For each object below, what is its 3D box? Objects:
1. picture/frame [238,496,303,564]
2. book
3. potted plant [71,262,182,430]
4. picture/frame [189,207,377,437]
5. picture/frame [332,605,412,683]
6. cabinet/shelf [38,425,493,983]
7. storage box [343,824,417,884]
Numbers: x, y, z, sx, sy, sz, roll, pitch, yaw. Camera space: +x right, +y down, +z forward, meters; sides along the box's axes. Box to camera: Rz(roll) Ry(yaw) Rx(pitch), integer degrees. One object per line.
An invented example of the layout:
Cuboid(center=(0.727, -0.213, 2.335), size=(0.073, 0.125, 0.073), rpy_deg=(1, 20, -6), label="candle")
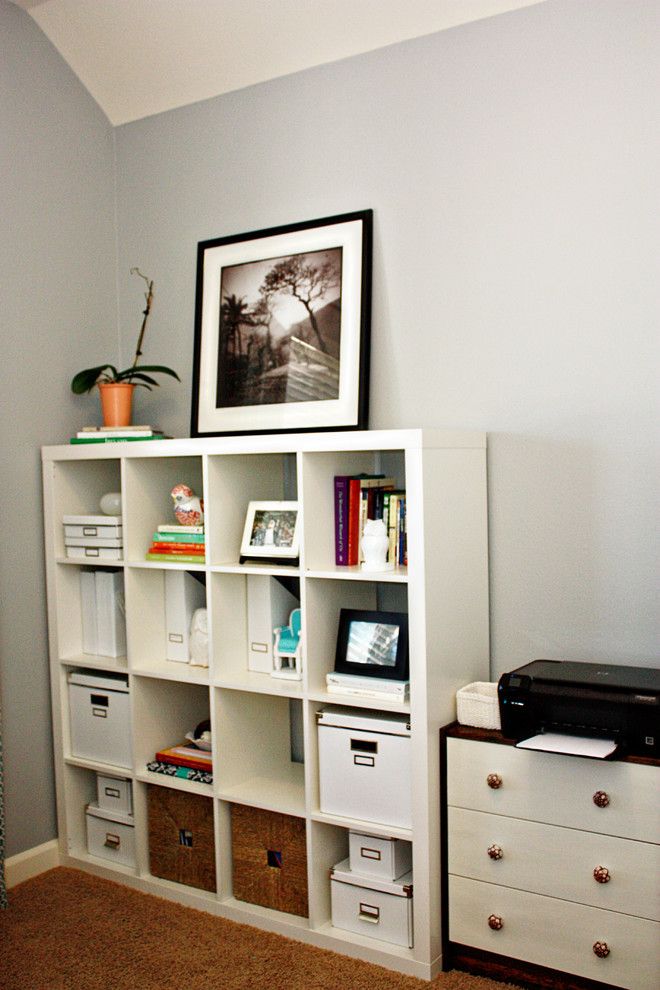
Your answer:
Cuboid(center=(-0.167, 0.105, 2.259), size=(0.186, 0.184, 0.014), rpy_deg=(-3, -20, 41), label="picture/frame")
Cuboid(center=(0.112, 0.050, 2.280), size=(0.199, 0.299, 0.294), rpy_deg=(0, -2, 3), label="book")
Cuboid(center=(-0.747, -0.499, 2.723), size=(0.283, 0.489, 0.303), rpy_deg=(11, 9, 32), label="potted plant")
Cuboid(center=(-0.127, -0.536, 2.538), size=(0.754, 0.774, 0.033), rpy_deg=(-2, -6, 34), label="picture/frame")
Cuboid(center=(0.107, 0.393, 2.089), size=(0.190, 0.170, 0.068), rpy_deg=(-5, -19, 32), label="picture/frame")
Cuboid(center=(-0.246, 0.526, 2.447), size=(1.392, 1.395, 0.382), rpy_deg=(5, 8, 31), label="cabinet/shelf")
Cuboid(center=(0.114, 0.926, 2.066), size=(0.121, 0.097, 0.126), rpy_deg=(1, 0, 24), label="storage box")
